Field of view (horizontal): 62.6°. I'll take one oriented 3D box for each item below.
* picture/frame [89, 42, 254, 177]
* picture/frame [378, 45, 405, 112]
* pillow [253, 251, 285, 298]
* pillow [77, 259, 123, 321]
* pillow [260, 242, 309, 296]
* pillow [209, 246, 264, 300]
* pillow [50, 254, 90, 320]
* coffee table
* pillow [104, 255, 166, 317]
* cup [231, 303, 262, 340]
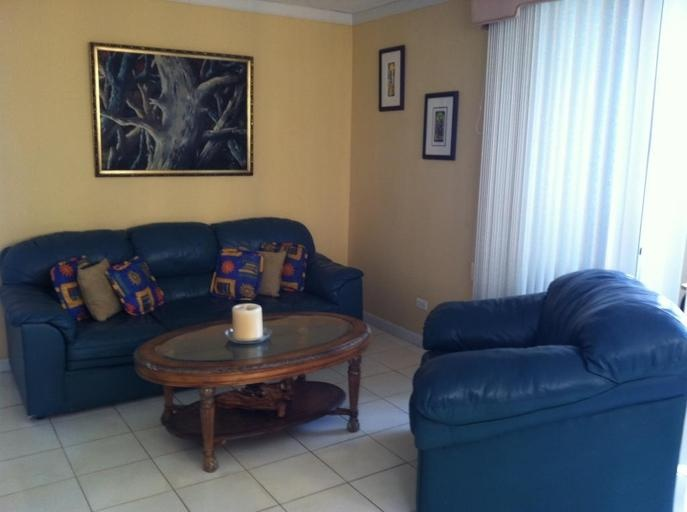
[{"bbox_3d":[-1.496,-1.257,4.757,1.193,0.884,0.049,-4,10,-29],"label":"picture/frame"},{"bbox_3d":[0.444,-1.585,5.083,0.046,0.540,0.366,-9,17,-29],"label":"picture/frame"},{"bbox_3d":[-0.628,0.154,4.723,0.344,0.396,0.152,-2,-17,33],"label":"pillow"},{"bbox_3d":[-1.769,0.259,4.099,0.109,0.367,0.360,-19,-2,33],"label":"pillow"},{"bbox_3d":[-0.450,0.109,4.867,0.393,0.413,0.163,2,-8,14],"label":"pillow"},{"bbox_3d":[-0.870,0.146,4.623,0.384,0.396,0.141,8,-3,3],"label":"pillow"},{"bbox_3d":[-1.960,0.229,4.070,0.123,0.380,0.375,-13,-9,22],"label":"pillow"},{"bbox_3d":[-0.538,0.849,3.601,1.404,0.708,0.716,-8,16,-19],"label":"coffee table"},{"bbox_3d":[-1.553,0.234,4.235,0.131,0.410,0.404,-28,0,29],"label":"pillow"},{"bbox_3d":[-0.574,0.396,3.526,0.200,0.233,0.203,0,6,0],"label":"cup"}]
